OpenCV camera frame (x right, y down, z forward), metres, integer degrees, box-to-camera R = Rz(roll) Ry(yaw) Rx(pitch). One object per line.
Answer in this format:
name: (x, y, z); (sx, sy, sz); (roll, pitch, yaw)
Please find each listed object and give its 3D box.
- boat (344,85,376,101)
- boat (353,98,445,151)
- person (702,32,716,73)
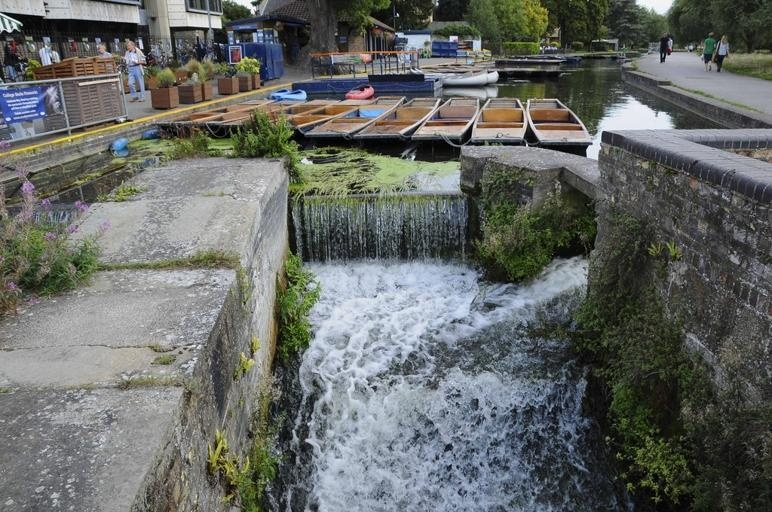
boat: (-1.002, -6.696, 20.720); (0.682, 0.445, 1.496); (13, 40, 17)
boat: (0.398, -3.860, 15.053); (1.224, 0.648, 4.413); (4, 30, 11)
person: (16.947, -10.597, 26.695); (0.516, 1.607, 2.049); (12, 30, 29)
